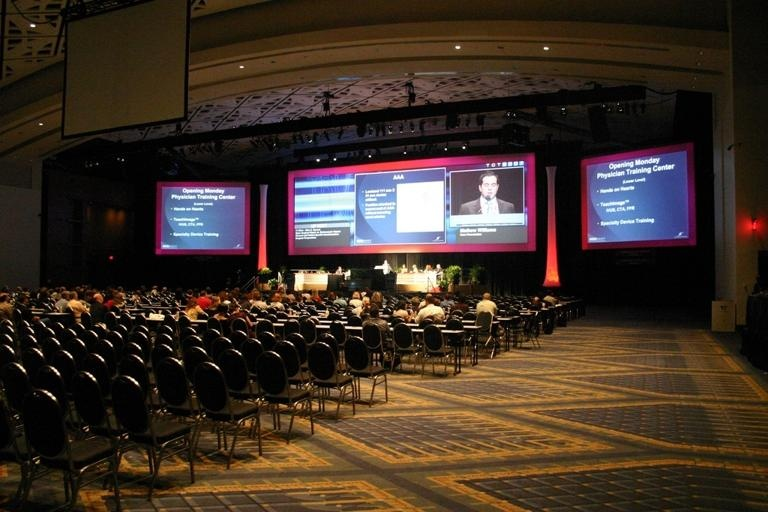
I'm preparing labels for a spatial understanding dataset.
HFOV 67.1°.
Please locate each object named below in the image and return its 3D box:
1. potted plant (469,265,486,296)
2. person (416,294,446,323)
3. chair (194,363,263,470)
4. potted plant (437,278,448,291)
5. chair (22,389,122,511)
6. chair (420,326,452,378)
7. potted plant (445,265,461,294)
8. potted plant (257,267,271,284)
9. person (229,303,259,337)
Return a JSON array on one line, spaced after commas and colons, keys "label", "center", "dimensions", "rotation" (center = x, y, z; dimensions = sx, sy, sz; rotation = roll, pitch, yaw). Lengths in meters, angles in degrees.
[{"label": "potted plant", "center": [4.050, 1.031, 25.217], "dimensions": [0.670, 1.184, 1.170], "rotation": [-2, 0, 9]}, {"label": "person", "center": [1.141, 1.318, 14.218], "dimensions": [0.721, 1.111, 0.677], "rotation": [3, 2, 9]}, {"label": "chair", "center": [-2.497, 2.398, 9.322], "dimensions": [1.005, 1.668, 1.193], "rotation": [-2, 0, -13]}, {"label": "potted plant", "center": [2.531, 1.288, 25.212], "dimensions": [0.478, 0.440, 0.456], "rotation": [1, -5, -6]}, {"label": "chair", "center": [-4.322, 2.610, 8.017], "dimensions": [1.150, 1.764, 0.944], "rotation": [-2, 0, -28]}, {"label": "chair", "center": [1.237, 2.109, 13.950], "dimensions": [0.710, 1.116, 2.256], "rotation": [-2, 0, 6]}, {"label": "potted plant", "center": [3.018, 0.985, 25.206], "dimensions": [0.705, 1.146, 1.090], "rotation": [-2, 0, 5]}, {"label": "potted plant", "center": [-6.085, 0.972, 29.209], "dimensions": [0.699, 0.719, 0.749], "rotation": [0, 2, -23]}, {"label": "person", "center": [-3.264, 1.491, 13.419], "dimensions": [0.477, 0.742, 0.511], "rotation": [4, 17, 8]}]
